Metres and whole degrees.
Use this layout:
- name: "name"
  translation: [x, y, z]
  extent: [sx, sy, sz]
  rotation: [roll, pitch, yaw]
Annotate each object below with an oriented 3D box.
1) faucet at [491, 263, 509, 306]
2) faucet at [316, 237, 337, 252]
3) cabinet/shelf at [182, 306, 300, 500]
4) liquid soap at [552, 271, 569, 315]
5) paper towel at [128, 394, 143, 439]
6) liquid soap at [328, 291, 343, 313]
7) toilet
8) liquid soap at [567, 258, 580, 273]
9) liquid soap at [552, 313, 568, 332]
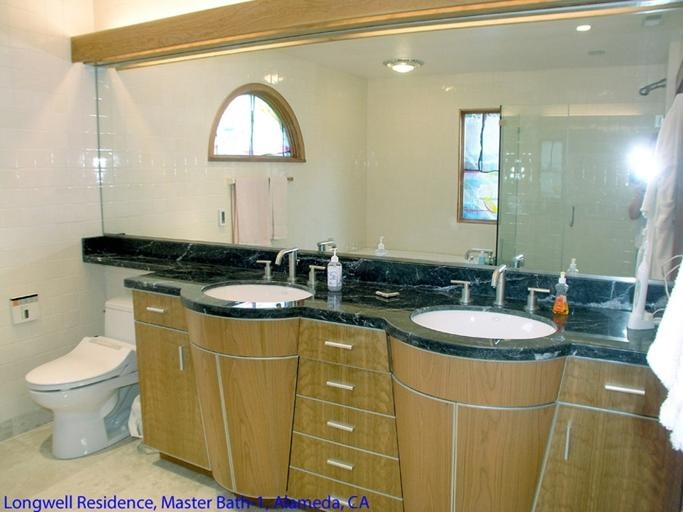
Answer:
- name: "faucet"
  translation: [0.757, 0.135, 2.534]
  extent: [0.062, 0.190, 0.130]
  rotation: [3, 10, 15]
- name: "faucet"
  translation: [-0.084, -0.067, 3.039]
  extent: [0.094, 0.109, 0.076]
  rotation: [2, 5, -27]
- name: "cabinet/shelf"
  translation: [-0.493, 0.743, 2.643]
  extent: [0.561, 0.948, 0.149]
  rotation: [4, 11, 22]
- name: "liquid soap"
  translation: [1.027, 0.165, 2.452]
  extent: [0.073, 0.177, 0.220]
  rotation: [4, 10, 22]
- name: "paper towel"
  translation: [-1.334, 1.056, 3.371]
  extent: [0.095, 0.261, 0.198]
  rotation: [-3, 51, -18]
- name: "liquid soap"
  translation: [-0.030, 0.218, 2.598]
  extent: [0.068, 0.071, 0.065]
  rotation: [1, 22, -4]
- name: "toilet"
  translation: [-1.571, 0.747, 3.287]
  extent: [0.471, 0.782, 0.754]
  rotation: [10, 12, 33]
- name: "liquid soap"
  translation: [1.113, 0.044, 2.521]
  extent: [0.050, 0.069, 0.011]
  rotation: [2, 10, 13]
- name: "liquid soap"
  translation: [0.963, 0.289, 2.307]
  extent: [0.064, 0.066, 0.063]
  rotation: [6, 16, 23]
